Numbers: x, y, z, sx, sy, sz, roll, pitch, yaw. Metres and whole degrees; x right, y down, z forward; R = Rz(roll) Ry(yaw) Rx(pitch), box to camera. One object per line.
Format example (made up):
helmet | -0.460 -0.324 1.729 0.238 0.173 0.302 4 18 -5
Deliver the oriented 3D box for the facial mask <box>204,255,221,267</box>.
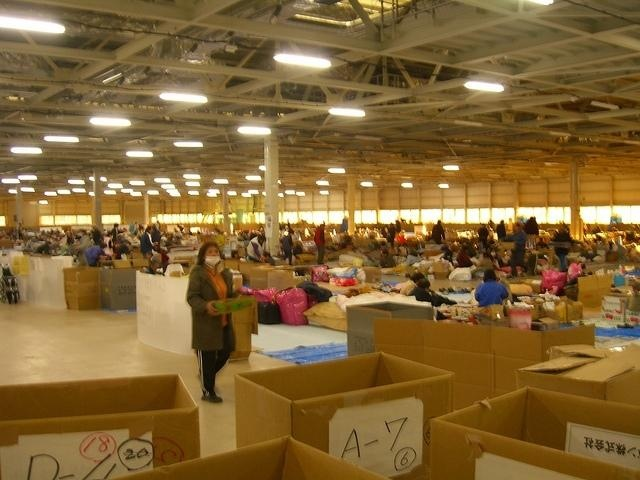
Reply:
facial mask | -1.328 0.216 5.779 0.166 0.090 0.162 -4 4 -42

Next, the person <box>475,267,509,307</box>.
person | 3.222 0.868 8.757 0.611 0.939 0.524 -10 42 9

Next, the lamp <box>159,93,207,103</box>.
lamp | -3.365 -3.867 11.495 0.867 0.107 0.275 0 -21 -35
